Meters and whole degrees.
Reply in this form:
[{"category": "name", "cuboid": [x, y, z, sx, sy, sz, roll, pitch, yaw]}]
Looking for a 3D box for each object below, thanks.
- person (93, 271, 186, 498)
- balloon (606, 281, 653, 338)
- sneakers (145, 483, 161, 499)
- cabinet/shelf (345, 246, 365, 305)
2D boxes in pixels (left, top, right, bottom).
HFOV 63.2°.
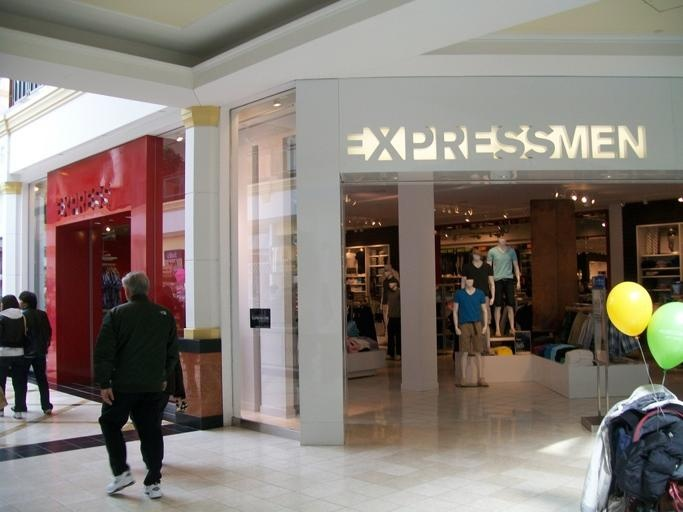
[{"category": "person", "cuboid": [-1.848, 1.154, 5.023, 0.699, 2.014, 0.352, 0, -2, -18]}, {"category": "balloon", "cuboid": [2.820, 0.522, 5.400, 0.366, 0.526, 0.296, -1, -2, -8]}, {"category": "sneakers", "cuboid": [-1.681, 2.099, 4.954, 0.076, 0.083, 0.194, 1, 0, -16]}, {"category": "cabinet/shelf", "cuboid": [0.462, 0.543, 18.438, 0.665, 1.579, 0.329, 2, 7, 1]}]
